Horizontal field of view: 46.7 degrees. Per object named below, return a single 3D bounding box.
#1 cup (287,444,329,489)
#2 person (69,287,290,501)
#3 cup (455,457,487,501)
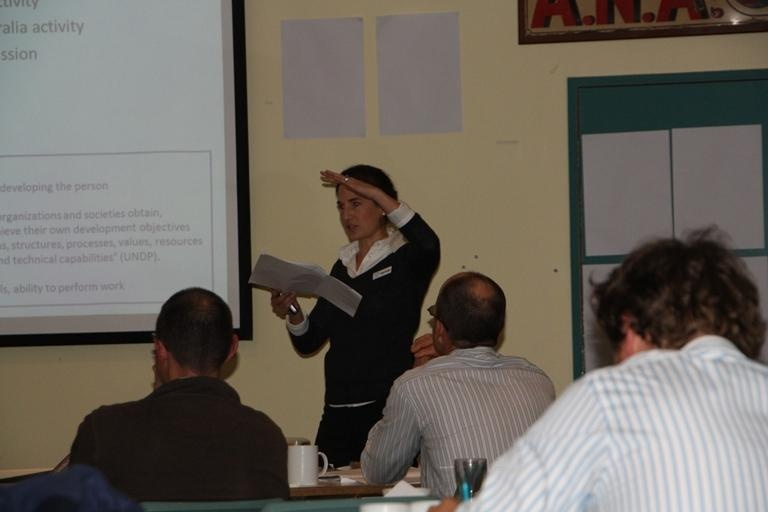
[{"bbox_3d":[-0.323,0.887,3.717,0.113,0.174,0.181,-14,-18,43],"label":"cup"},{"bbox_3d":[-0.779,0.654,3.481,0.878,0.869,0.629,4,-16,-16],"label":"person"},{"bbox_3d":[0.303,0.765,3.084,0.112,0.149,0.126,-2,-26,28],"label":"cup"}]
